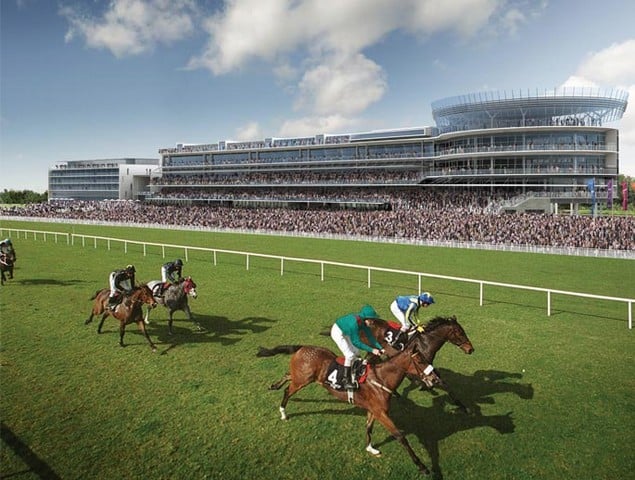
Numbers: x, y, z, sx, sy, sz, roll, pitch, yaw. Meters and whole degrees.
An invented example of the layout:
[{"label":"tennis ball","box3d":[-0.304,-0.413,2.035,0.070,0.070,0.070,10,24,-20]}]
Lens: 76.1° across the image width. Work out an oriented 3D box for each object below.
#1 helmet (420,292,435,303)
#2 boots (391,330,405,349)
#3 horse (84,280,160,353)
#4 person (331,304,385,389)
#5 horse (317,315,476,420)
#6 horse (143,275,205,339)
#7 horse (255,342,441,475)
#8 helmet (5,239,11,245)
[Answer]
[{"label":"helmet","box3d":[1.870,0.993,6.954,0.220,0.116,0.165,0,1,34]},{"label":"boots","box3d":[1.369,1.707,6.853,0.121,0.340,0.254,32,-1,8]},{"label":"horse","box3d":[-4.661,1.627,9.593,2.549,1.506,0.765,8,10,43]},{"label":"person","box3d":[0.587,1.617,6.248,0.807,1.242,0.548,2,7,7]},{"label":"horse","box3d":[1.514,1.899,7.276,2.567,1.468,0.567,8,9,43]},{"label":"horse","box3d":[-3.837,1.572,10.409,2.339,1.455,0.573,4,9,38]},{"label":"horse","box3d":[0.502,2.672,6.319,2.728,1.622,0.638,13,29,21]},{"label":"helmet","box3d":[-11.751,0.069,15.394,0.183,0.132,0.177,3,-30,-28]}]
